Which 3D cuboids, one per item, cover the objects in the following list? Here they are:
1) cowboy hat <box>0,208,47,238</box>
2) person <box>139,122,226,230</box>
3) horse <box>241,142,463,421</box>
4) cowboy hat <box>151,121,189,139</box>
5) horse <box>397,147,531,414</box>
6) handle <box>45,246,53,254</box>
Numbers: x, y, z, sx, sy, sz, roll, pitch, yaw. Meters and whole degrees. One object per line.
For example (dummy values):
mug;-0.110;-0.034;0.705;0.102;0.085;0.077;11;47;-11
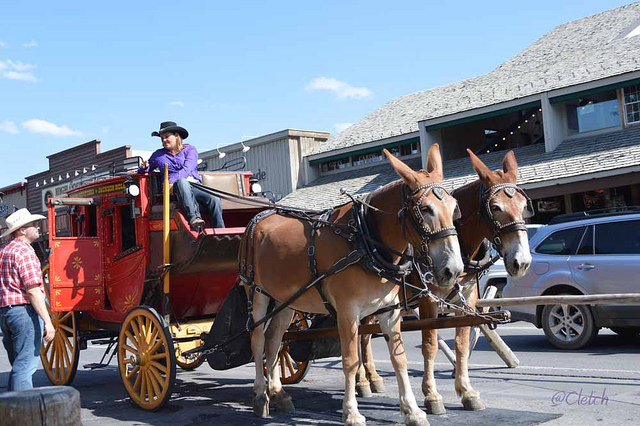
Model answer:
cowboy hat;-4.527;0.105;10.593;0.530;0.197;0.456;-26;2;-3
person;-2.337;-0.675;11.860;1.087;1.802;1.581;-3;-1;-24
horse;0.404;1.103;9.991;3.405;3.812;0.973;-4;0;37
cowboy hat;-2.642;-1.478;12.390;0.582;0.287;0.421;-3;-1;-16
horse;2.033;1.226;11.801;1.191;3.902;5.069;7;-9;-14
handle;-4.867;0.656;12.585;0.053;0.122;1.283;-3;-1;-23
